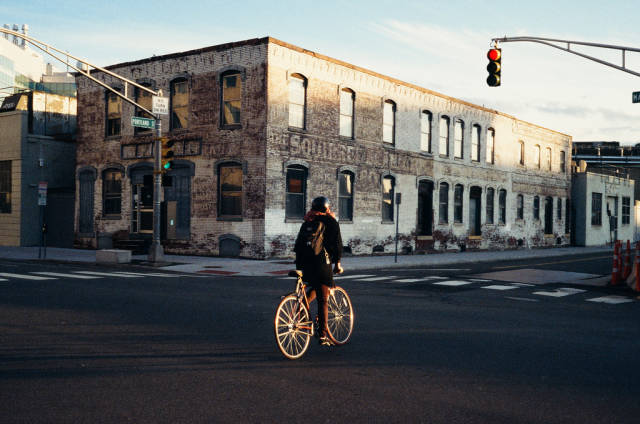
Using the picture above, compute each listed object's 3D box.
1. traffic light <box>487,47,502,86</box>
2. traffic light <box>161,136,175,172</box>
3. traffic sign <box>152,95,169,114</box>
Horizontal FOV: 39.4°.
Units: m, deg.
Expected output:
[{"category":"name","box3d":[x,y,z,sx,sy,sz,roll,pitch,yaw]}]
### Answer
[{"category":"traffic light","box3d":[6.828,-5.728,35.094,0.506,1.427,0.674,0,15,3]},{"category":"traffic light","box3d":[-6.693,-2.524,38.823,0.544,1.373,1.345,-3,15,-10]},{"category":"traffic sign","box3d":[-6.909,-4.618,38.458,0.668,0.807,0.496,-4,15,-14]}]
